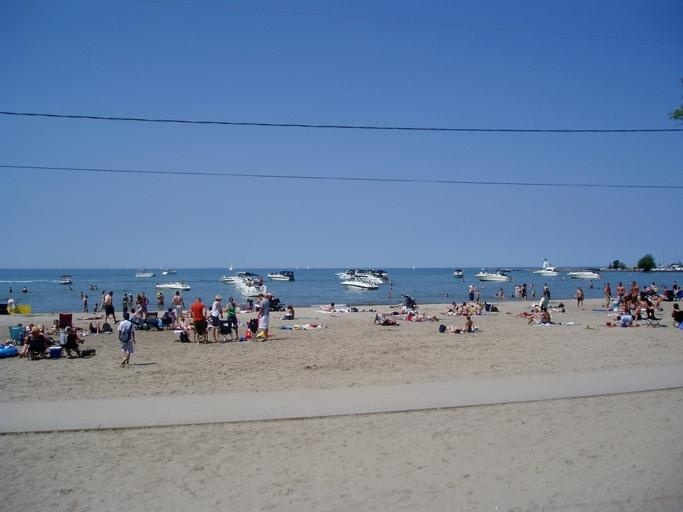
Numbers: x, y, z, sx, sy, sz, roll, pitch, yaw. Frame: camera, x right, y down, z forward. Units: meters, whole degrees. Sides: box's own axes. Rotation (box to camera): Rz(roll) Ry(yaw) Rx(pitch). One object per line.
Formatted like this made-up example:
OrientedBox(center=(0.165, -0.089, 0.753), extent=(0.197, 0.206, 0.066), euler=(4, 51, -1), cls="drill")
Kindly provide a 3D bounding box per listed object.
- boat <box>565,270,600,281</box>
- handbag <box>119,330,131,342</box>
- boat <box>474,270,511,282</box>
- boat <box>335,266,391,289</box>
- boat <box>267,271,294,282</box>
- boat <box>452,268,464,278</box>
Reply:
OrientedBox(center=(46.958, 3.754, 138.406), extent=(4.728, 1.227, 2.636), euler=(0, 4, 33), cls="boat")
OrientedBox(center=(-6.387, 2.363, 21.227), extent=(0.302, 0.405, 0.222), euler=(-6, 13, -22), cls="handbag")
OrientedBox(center=(29.259, 3.894, 138.451), extent=(6.831, 2.346, 1.994), euler=(0, 4, 9), cls="boat")
OrientedBox(center=(3.298, 3.511, 108.333), extent=(2.693, 2.418, 7.818), euler=(2, 2, -35), cls="boat")
OrientedBox(center=(-11.321, 3.811, 133.099), extent=(5.097, 1.634, 2.523), euler=(-4, -1, 35), cls="boat")
OrientedBox(center=(24.950, 3.784, 153.913), extent=(2.237, 2.322, 6.921), euler=(-1, -5, 2), cls="boat")
